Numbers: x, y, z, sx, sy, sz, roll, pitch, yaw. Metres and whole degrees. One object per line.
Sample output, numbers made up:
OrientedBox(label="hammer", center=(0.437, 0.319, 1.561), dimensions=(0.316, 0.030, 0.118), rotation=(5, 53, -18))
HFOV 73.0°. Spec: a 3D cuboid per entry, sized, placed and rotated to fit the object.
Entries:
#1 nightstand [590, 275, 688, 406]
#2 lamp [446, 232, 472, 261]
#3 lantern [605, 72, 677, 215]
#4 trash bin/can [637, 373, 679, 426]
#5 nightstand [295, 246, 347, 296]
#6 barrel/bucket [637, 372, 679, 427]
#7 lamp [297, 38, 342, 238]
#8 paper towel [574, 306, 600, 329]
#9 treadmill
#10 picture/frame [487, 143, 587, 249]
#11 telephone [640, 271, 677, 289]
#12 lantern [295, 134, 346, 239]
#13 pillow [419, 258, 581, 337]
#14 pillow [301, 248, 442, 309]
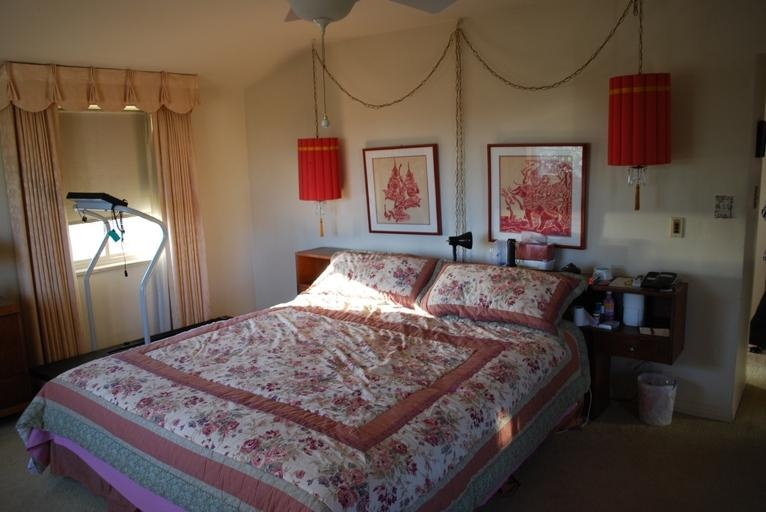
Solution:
OrientedBox(label="nightstand", center=(1.983, 0.763, 4.023), dimensions=(0.621, 1.013, 0.406), rotation=(1, 4, 39))
OrientedBox(label="lamp", center=(0.707, -0.095, 4.738), dimensions=(0.213, 0.275, 0.250), rotation=(1, 10, 14))
OrientedBox(label="lantern", center=(1.944, -0.911, 3.940), dimensions=(0.441, 0.875, 0.450), rotation=(2, 10, 31))
OrientedBox(label="trash bin/can", center=(2.092, 1.072, 4.052), dimensions=(0.302, 0.377, 0.324), rotation=(5, 10, 41))
OrientedBox(label="nightstand", center=(-0.696, 0.145, 5.540), dimensions=(0.476, 0.495, 0.387), rotation=(8, 12, 40))
OrientedBox(label="barrel/bucket", center=(2.094, 1.088, 4.010), dimensions=(0.318, 0.377, 0.329), rotation=(-2, 8, 0))
OrientedBox(label="lamp", center=(-0.693, -1.199, 5.427), dimensions=(0.359, 1.951, 0.469), rotation=(-1, 3, 2))
OrientedBox(label="paper towel", center=(1.561, 0.473, 4.000), dimensions=(0.201, 0.151, 0.116), rotation=(-1, 5, -8))
OrientedBox(label="treadmill", center=(-2.241, 0.349, 4.903), dimensions=(1.348, 1.869, 1.962), rotation=(4, 13, 39))
OrientedBox(label="picture/frame", center=(1.296, -0.520, 4.409), dimensions=(0.815, 0.861, 0.034), rotation=(4, 11, 27))
OrientedBox(label="telephone", center=(2.110, 0.173, 3.955), dimensions=(0.207, 0.095, 0.324), rotation=(6, 13, 38))
OrientedBox(label="lantern", center=(-0.667, -0.767, 5.318), dimensions=(0.441, 0.900, 0.168), rotation=(0, 5, 10))
OrientedBox(label="pillow", center=(0.917, 0.301, 4.234), dimensions=(1.228, 0.281, 0.827), rotation=(10, 35, 33))
OrientedBox(label="pillow", center=(-0.025, 0.153, 4.619), dimensions=(0.882, 0.239, 0.544), rotation=(6, 47, 30))
